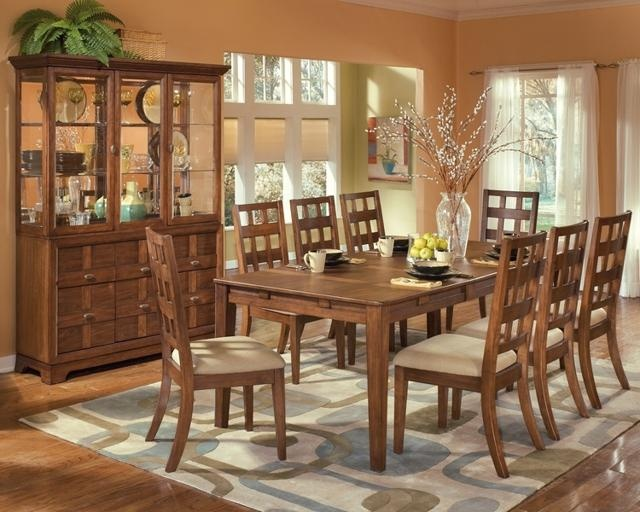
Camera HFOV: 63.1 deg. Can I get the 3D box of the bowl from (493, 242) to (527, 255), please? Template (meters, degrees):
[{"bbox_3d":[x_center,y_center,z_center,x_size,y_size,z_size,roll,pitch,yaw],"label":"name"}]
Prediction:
[{"bbox_3d":[1.266,-0.045,3.501,0.175,0.038,0.173,1,6,0],"label":"bowl"}]

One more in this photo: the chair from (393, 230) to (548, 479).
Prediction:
[{"bbox_3d":[0.763,0.422,2.568,0.602,1.079,0.645,2,5,33],"label":"chair"}]

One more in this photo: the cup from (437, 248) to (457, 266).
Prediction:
[{"bbox_3d":[0.755,0.007,3.113,0.090,0.071,0.111,10,16,36],"label":"cup"}]

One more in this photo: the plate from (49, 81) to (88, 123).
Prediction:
[{"bbox_3d":[-1.673,-1.048,3.528,0.053,0.289,0.214,2,5,32],"label":"plate"}]

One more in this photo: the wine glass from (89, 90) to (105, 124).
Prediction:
[{"bbox_3d":[-1.540,-1.053,3.661,0.088,0.232,0.032,-3,5,-29],"label":"wine glass"}]

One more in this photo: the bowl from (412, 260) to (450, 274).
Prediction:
[{"bbox_3d":[0.613,0.058,2.834,0.113,0.025,0.112,0,8,0],"label":"bowl"}]

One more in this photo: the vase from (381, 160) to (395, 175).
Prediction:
[{"bbox_3d":[1.060,-1.358,7.914,0.243,0.217,0.238,11,16,39],"label":"vase"}]

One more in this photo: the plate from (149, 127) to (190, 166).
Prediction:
[{"bbox_3d":[-1.135,-0.845,4.039,0.063,0.255,0.305,-2,-3,43],"label":"plate"}]

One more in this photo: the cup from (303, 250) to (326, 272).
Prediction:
[{"bbox_3d":[-0.019,0.025,3.088,0.101,0.096,0.155,10,14,39],"label":"cup"}]

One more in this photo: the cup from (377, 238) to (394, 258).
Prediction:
[{"bbox_3d":[0.473,-0.063,3.671,0.112,0.131,0.189,0,4,6],"label":"cup"}]

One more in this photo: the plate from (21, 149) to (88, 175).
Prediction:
[{"bbox_3d":[-1.781,-0.645,3.512,0.280,0.083,0.261,1,3,8],"label":"plate"}]

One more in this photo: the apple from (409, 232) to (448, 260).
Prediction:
[{"bbox_3d":[0.677,-0.065,3.241,0.220,0.103,0.196,-2,8,-9],"label":"apple"}]
